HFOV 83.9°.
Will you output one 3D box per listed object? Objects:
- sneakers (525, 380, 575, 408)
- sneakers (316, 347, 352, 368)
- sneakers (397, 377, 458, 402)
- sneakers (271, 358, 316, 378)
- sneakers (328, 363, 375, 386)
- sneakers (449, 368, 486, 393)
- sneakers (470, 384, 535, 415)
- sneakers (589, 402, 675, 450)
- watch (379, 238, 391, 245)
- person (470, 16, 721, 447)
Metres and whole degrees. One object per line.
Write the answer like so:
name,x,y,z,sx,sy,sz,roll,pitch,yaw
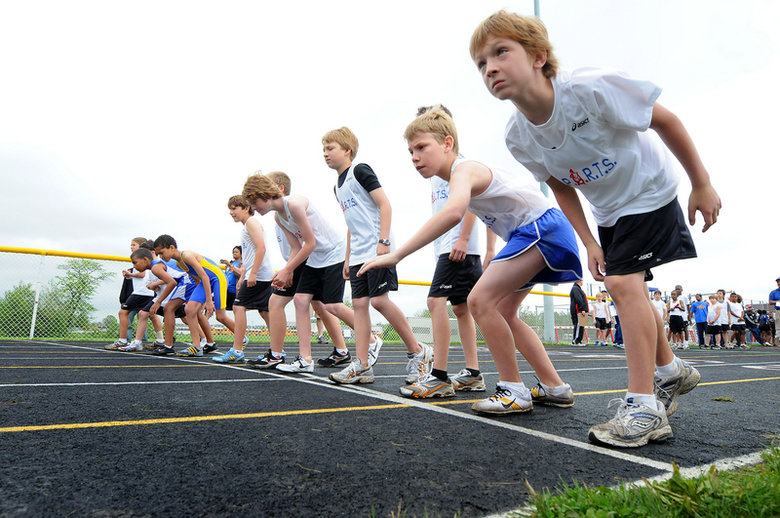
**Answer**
sneakers,1.270,1.067,3.457,0.374,0.182,0.174,4,-1,23
sneakers,-0.804,1.337,5.915,0.584,0.291,0.203,-3,-1,-24
sneakers,0.325,1.090,3.676,0.496,0.224,0.177,2,-9,-17
sneakers,-1.130,1.272,5.067,0.484,0.204,0.188,4,-6,-12
sneakers,-0.350,1.159,4.361,0.482,0.228,0.183,5,-6,-23
sneakers,0.741,1.163,4.167,0.403,0.181,0.163,3,-6,-8
sneakers,0.818,1.021,3.187,0.491,0.232,0.179,2,-9,-16
sneakers,1.364,0.928,2.501,0.556,0.251,0.211,2,-10,-21
watch,-0.045,-0.159,4.145,0.086,0.055,0.091,3,-9,13
person,1.206,-0.199,2.533,1.292,2.510,0.564,-1,-9,4
